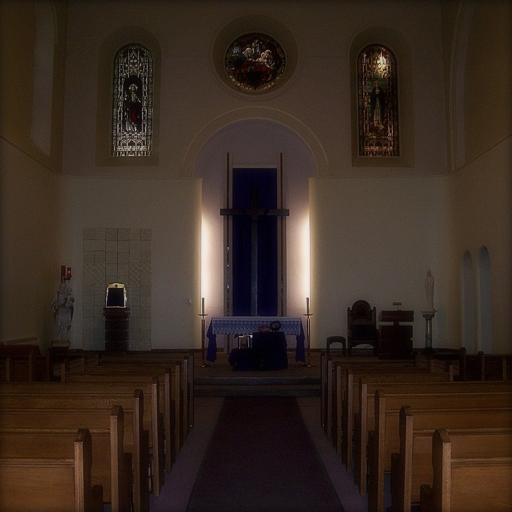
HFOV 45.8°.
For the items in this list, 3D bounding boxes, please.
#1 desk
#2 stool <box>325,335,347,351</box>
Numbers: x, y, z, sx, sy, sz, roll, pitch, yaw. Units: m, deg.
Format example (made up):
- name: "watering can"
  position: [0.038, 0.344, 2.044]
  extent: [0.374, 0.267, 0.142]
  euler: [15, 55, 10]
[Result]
- name: "desk"
  position: [-0.011, 1.313, 10.459]
  extent: [1.624, 1.000, 0.666]
  euler: [1, 19, 5]
- name: "stool"
  position: [1.468, 1.565, 11.255]
  extent: [0.312, 0.372, 0.357]
  euler: [-1, -11, 7]
